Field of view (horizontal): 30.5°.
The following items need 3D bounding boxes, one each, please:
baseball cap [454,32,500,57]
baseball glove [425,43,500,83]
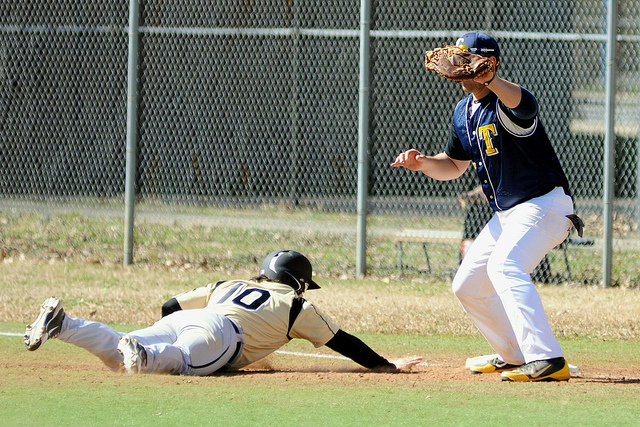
[{"bbox_3d":[1.633,-1.735,11.953,0.298,0.198,0.246,16,14,-1],"label":"baseball cap"},{"bbox_3d":[1.350,-1.507,11.742,0.345,0.160,0.589,-36,35,-18],"label":"baseball glove"}]
